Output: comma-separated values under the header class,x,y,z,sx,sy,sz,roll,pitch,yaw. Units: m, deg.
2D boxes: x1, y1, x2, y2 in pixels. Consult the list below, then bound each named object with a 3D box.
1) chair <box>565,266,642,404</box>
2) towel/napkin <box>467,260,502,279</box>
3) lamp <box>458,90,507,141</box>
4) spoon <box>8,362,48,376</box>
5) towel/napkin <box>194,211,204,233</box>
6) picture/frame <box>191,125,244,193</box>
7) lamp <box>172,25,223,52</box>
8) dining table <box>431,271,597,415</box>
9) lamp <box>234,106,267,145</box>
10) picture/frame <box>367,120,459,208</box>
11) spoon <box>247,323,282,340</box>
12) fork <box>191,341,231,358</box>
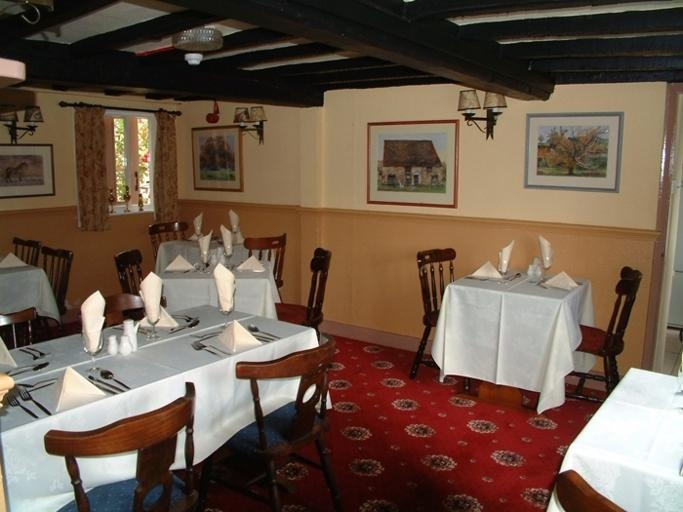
class,x,y,z,sx,sy,sz,roll,pitch,yaw
chair,2.159,0.735,4.281,0.643,1.125,0.698,-3,7,-42
towel/napkin,1.345,0.144,4.567,0.168,0.194,0.067,11,-8,6
lamp,1.397,-1.412,4.865,0.474,0.478,0.576,4,12,14
spoon,-1.640,0.590,2.557,0.182,0.021,0.120,-7,14,-34
towel/napkin,-1.905,-0.443,6.530,0.108,0.383,0.151,4,-12,-9
picture/frame,-1.806,-1.382,7.019,0.068,0.947,0.971,9,14,34
lamp,-1.009,-1.533,3.416,0.283,0.151,0.271,10,15,38
dining table,1.530,0.549,4.286,1.098,0.800,1.137,6,9,35
lamp,-1.145,-1.678,6.311,0.449,0.511,0.305,-1,11,25
picture/frame,0.820,-1.033,5.365,0.950,0.860,0.045,2,6,27
spoon,-0.506,0.488,3.048,0.080,0.040,0.261,-14,18,-37
fork,-0.759,0.545,2.810,0.085,0.016,0.314,-16,20,-42
